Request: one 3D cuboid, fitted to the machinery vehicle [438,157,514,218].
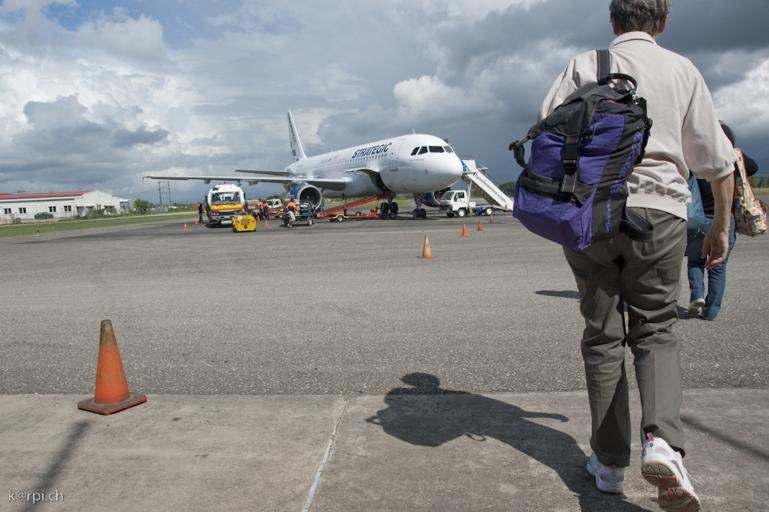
[{"bbox_3d":[6.194,-4.319,35.184,5.740,3.318,1.710,-7,9,-31],"label":"machinery vehicle"}]

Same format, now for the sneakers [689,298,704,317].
[{"bbox_3d":[3.722,0.627,6.379,0.113,0.271,0.117,1,55,8],"label":"sneakers"}]

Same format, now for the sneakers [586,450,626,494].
[{"bbox_3d":[1.404,1.392,3.398,0.125,0.141,0.313,0,-5,8],"label":"sneakers"}]

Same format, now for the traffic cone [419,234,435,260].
[{"bbox_3d":[0.888,-0.201,12.767,0.550,0.676,0.536,1,4,19],"label":"traffic cone"}]

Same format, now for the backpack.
[{"bbox_3d":[1.186,-0.561,3.227,0.783,1.031,0.464,1,12,10],"label":"backpack"}]
